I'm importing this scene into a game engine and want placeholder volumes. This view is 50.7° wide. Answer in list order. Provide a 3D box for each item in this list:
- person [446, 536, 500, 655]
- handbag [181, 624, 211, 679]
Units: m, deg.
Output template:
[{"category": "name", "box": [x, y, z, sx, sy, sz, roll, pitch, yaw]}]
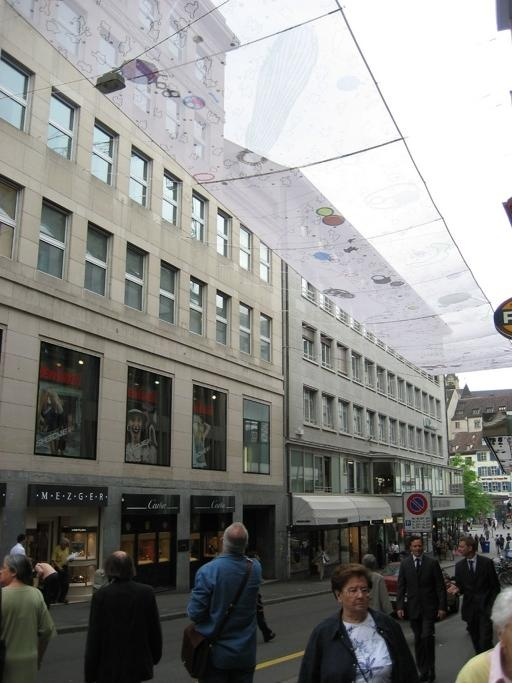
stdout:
[{"category": "person", "box": [3.225, 3.842, 7.935, 0.598, 1.738, 0.580, -7, -8, 31]}, {"category": "handbag", "box": [-0.408, 2.080, 3.614, 0.162, 0.348, 0.237, 8, -20, -27]}]
